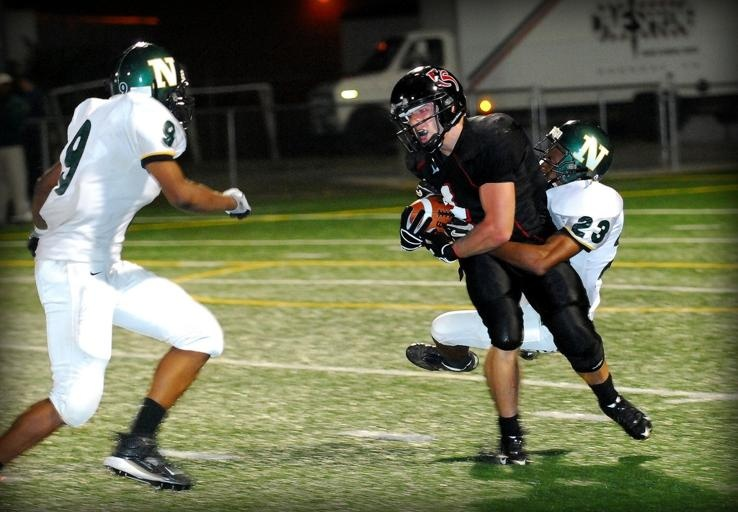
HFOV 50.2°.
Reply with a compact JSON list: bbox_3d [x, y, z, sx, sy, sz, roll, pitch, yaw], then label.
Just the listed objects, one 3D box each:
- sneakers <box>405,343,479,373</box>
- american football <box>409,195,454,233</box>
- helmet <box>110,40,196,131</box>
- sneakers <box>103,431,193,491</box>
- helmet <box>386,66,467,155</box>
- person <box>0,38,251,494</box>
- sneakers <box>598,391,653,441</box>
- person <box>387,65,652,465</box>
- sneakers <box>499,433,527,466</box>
[{"bbox_3d":[0.412,0.598,4.620,0.435,0.143,0.142,9,-25,10],"label":"sneakers"},{"bbox_3d":[0.298,-0.207,3.926,0.242,0.147,0.146,11,30,2],"label":"american football"},{"bbox_3d":[-0.942,-0.774,3.508,0.510,0.381,0.340,-12,25,-32],"label":"helmet"},{"bbox_3d":[-0.946,0.898,3.499,0.491,0.194,0.166,20,-8,-11],"label":"sneakers"},{"bbox_3d":[0.268,-0.696,3.778,0.389,0.418,0.275,0,14,15],"label":"helmet"},{"bbox_3d":[-1.081,0.163,3.452,0.964,1.719,0.553,-3,14,1],"label":"person"},{"bbox_3d":[1.236,0.779,3.838,0.319,0.136,0.146,38,10,21],"label":"sneakers"},{"bbox_3d":[0.666,0.004,3.821,0.696,1.833,1.018,-13,16,-33],"label":"person"},{"bbox_3d":[0.660,0.903,3.654,0.194,0.136,0.105,2,-3,9],"label":"sneakers"}]
